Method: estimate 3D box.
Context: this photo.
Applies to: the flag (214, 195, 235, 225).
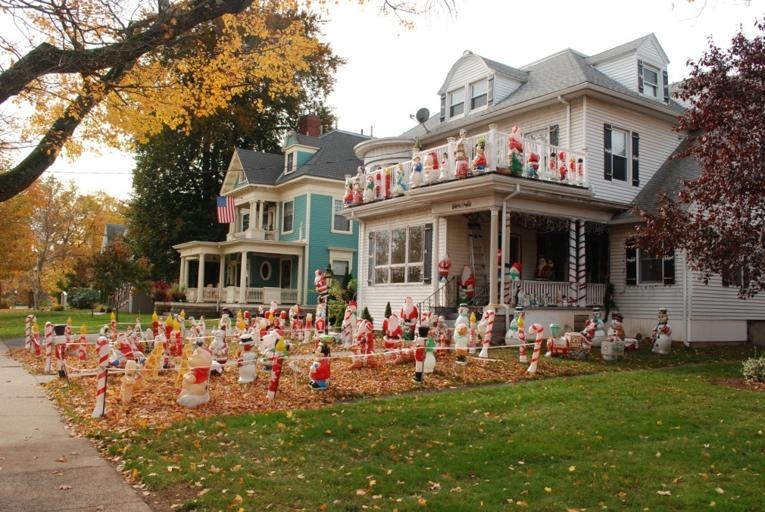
[{"bbox_3d":[-8.206,-2.495,35.949,0.873,1.381,1.194,-2,8,-10],"label":"flag"}]
